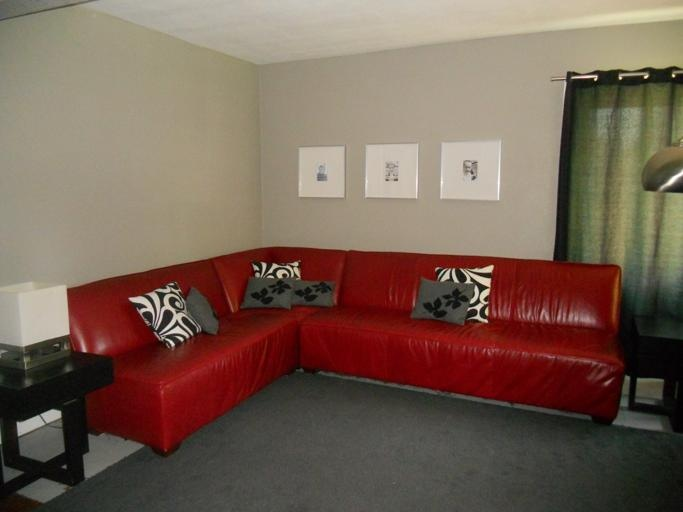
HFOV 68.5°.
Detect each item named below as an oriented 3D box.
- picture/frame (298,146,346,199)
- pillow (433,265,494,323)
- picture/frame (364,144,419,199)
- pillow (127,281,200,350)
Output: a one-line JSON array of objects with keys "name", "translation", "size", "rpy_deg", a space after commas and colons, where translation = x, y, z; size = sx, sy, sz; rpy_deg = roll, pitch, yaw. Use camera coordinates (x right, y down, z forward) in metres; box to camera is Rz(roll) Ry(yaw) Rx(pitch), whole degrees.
[{"name": "picture/frame", "translation": [-0.189, -0.900, 5.309], "size": [0.518, 0.560, 0.043], "rpy_deg": [2, 7, 19]}, {"name": "pillow", "translation": [1.112, 0.342, 4.306], "size": [0.148, 0.482, 0.476], "rpy_deg": [10, -9, -42]}, {"name": "picture/frame", "translation": [0.523, -0.859, 5.012], "size": [0.522, 0.534, 0.039], "rpy_deg": [3, 9, 19]}, {"name": "pillow", "translation": [-1.322, 0.455, 3.817], "size": [0.334, 0.378, 0.389], "rpy_deg": [3, 11, 21]}]
